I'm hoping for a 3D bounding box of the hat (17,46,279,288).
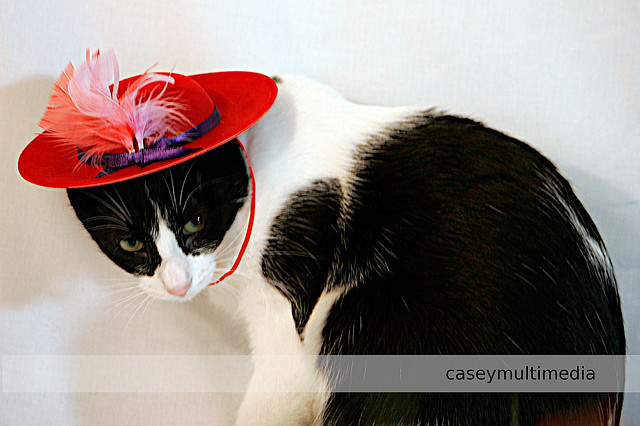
[{"bbox_3d":[-0.414,-0.163,2.058,0.434,0.171,0.409,16,60,37],"label":"hat"}]
